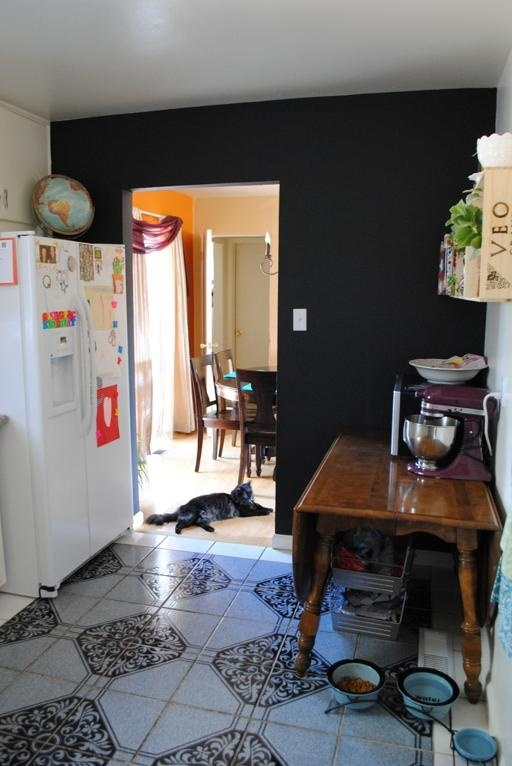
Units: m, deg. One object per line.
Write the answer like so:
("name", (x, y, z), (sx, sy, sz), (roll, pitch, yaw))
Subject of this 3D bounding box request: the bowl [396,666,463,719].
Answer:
("bowl", (0.541, 0.976, 1.737), (0.172, 0.073, 0.193), (3, 8, 23))

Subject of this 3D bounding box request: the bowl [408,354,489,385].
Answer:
("bowl", (0.801, -0.065, 2.341), (0.277, 0.131, 0.367), (1, 7, -5))

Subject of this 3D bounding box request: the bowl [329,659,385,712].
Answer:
("bowl", (0.322, 0.992, 1.796), (0.177, 0.121, 0.167), (0, 6, 0))

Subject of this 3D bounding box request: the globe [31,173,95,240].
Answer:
("globe", (-1.007, -0.920, 2.870), (0.304, 0.314, 0.185), (12, 7, -29))

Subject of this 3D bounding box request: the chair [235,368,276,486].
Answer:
("chair", (0.034, 0.309, 4.102), (0.327, 0.794, 0.346), (7, 9, 24))

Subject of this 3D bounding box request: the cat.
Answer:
("cat", (-0.288, 0.807, 3.532), (0.784, 0.150, 0.387), (-5, 7, -39))
